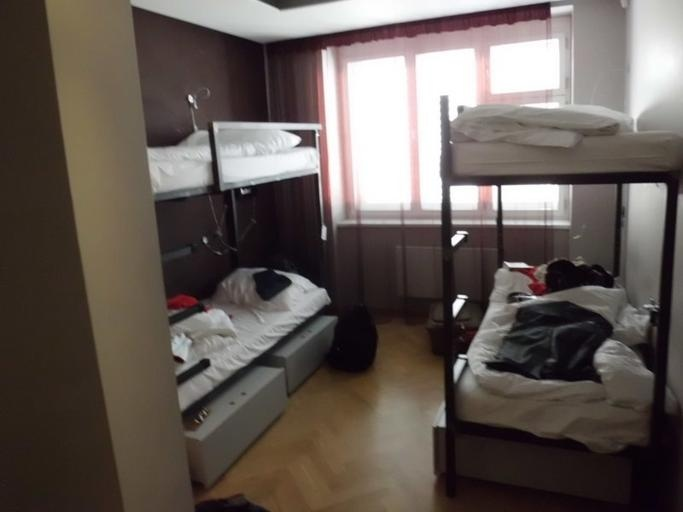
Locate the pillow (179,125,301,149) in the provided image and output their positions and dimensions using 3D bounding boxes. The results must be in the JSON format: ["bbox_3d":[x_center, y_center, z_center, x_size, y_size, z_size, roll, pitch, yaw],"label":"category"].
[{"bbox_3d":[-0.742,-0.833,3.736,0.278,0.116,0.441,14,12,42],"label":"pillow"}]

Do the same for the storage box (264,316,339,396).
[{"bbox_3d":[-0.304,0.654,3.762,0.344,0.190,0.534,1,17,26],"label":"storage box"}]

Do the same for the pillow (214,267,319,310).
[{"bbox_3d":[-0.546,0.229,4.032,0.372,0.130,0.397,9,15,25],"label":"pillow"}]
